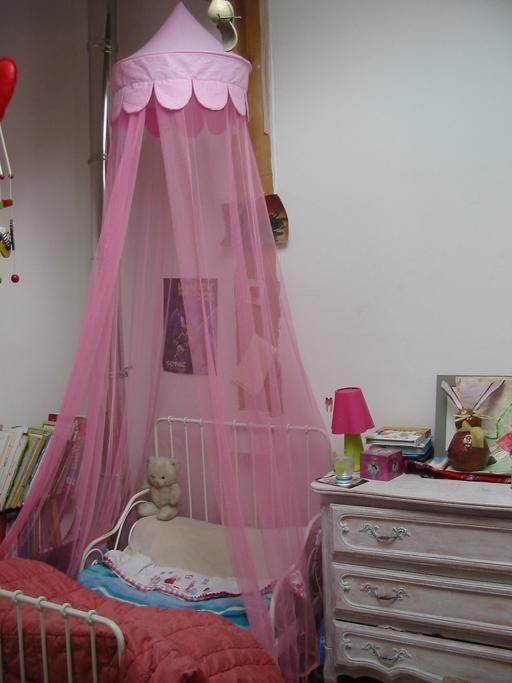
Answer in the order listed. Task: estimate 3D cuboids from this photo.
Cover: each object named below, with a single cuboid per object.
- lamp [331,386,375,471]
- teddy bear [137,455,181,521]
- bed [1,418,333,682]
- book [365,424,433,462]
[{"bbox_3d":[0.299,0.291,1.999,0.129,0.276,0.207,1,1,24],"label":"lamp"},{"bbox_3d":[-0.385,0.584,2.432,0.170,0.235,0.169,8,11,24],"label":"teddy bear"},{"bbox_3d":[-0.252,0.619,2.181,1.138,0.949,0.859,-1,-3,22],"label":"bed"},{"bbox_3d":[0.481,0.336,2.074,0.133,0.044,0.136,0,3,37],"label":"book"}]
